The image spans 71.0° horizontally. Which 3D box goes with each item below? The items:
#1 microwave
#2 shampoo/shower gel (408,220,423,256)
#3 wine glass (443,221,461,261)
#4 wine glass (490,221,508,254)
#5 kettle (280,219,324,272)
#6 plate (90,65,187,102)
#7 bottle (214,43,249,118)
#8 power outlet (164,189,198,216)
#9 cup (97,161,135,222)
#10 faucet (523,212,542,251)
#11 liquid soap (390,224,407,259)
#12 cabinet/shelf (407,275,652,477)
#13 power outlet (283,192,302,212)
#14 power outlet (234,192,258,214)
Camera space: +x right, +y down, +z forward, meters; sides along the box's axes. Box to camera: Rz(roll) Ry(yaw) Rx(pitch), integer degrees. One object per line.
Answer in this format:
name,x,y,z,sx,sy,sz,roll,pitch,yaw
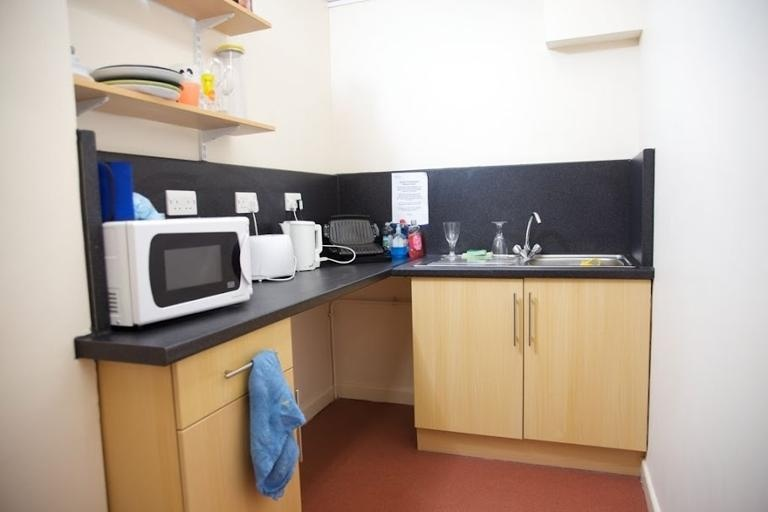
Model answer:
microwave,-0.748,0.038,2.064,0.301,0.381,0.510,6,11,38
shampoo/shower gel,0.207,-0.106,3.422,0.101,0.215,0.168,0,13,4
wine glass,0.423,-0.098,3.297,0.094,0.228,0.307,1,13,8
wine glass,0.702,-0.105,3.247,0.100,0.192,0.200,2,13,11
kettle,-0.431,-0.058,2.910,0.207,0.266,0.211,-4,14,-12
plate,-0.935,-0.685,2.087,0.184,0.068,0.186,5,14,3
bottle,-0.766,-0.910,2.685,0.123,0.261,0.119,12,13,-3
power outlet,-0.916,-0.241,2.447,0.028,0.124,0.176,6,15,25
cup,-0.950,-0.229,1.921,0.106,0.205,0.087,-5,14,-17
faucet,0.877,-0.147,3.220,0.088,0.235,0.168,7,15,29
liquid soap,0.099,-0.096,3.413,0.109,0.195,0.153,5,15,24
cabinet/shelf,0.810,0.621,2.977,1.110,0.956,0.418,-2,-2,24
power outlet,-0.524,-0.321,3.148,0.032,0.095,0.140,0,5,31
power outlet,-0.714,-0.279,2.808,0.032,0.100,0.138,1,2,27
